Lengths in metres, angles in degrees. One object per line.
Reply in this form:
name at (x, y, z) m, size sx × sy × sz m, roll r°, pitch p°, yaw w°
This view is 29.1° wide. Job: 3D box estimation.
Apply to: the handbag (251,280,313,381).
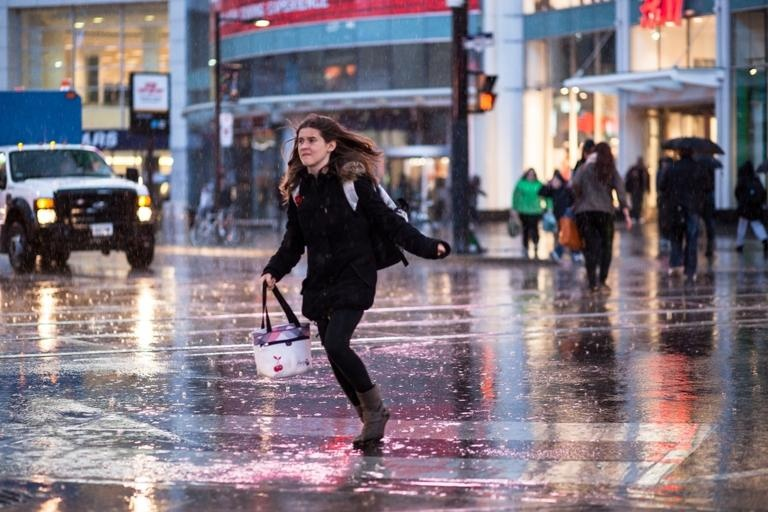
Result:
handbag at (-1.386, 0.968, 19.417) m, size 0.705 × 1.346 × 0.528 m, roll -10°, pitch -3°, yaw -17°
